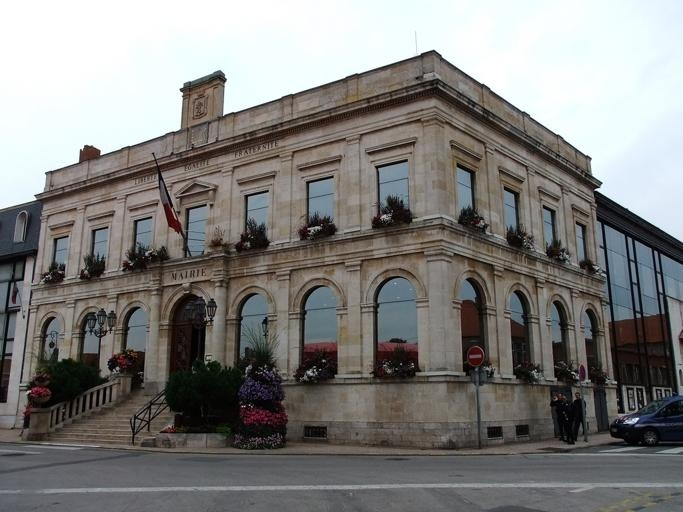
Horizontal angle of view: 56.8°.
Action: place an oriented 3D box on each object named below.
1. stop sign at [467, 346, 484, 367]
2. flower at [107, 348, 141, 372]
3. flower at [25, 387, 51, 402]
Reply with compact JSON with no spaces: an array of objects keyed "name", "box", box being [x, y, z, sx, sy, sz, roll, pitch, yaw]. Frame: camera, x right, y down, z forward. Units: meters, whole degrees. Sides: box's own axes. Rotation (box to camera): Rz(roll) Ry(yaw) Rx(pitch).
[{"name":"stop sign","box":[5.262,3.955,24.843,0.557,0.812,0.859,-5,-19,8]},{"name":"flower","box":[-10.981,5.431,32.189,1.343,1.040,1.343,1,-14,-11]},{"name":"flower","box":[-13.765,6.314,28.765,0.688,0.699,0.732,1,-6,21]}]
